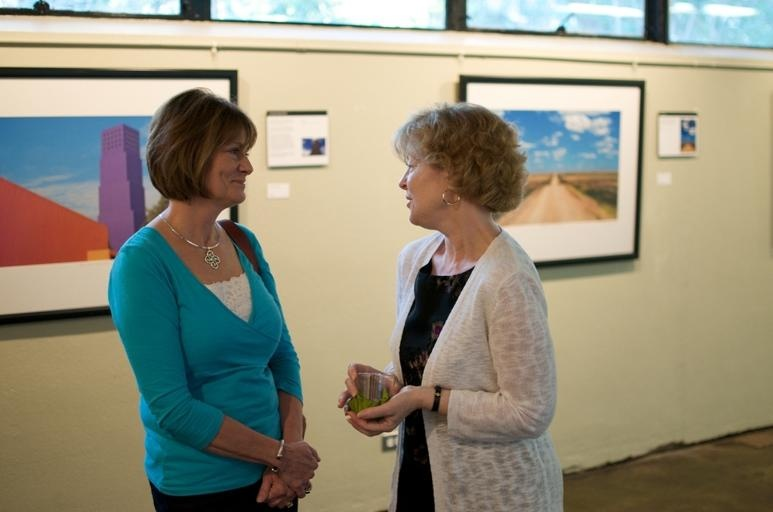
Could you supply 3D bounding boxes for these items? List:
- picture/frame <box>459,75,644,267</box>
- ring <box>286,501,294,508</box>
[{"bbox_3d":[1.139,-0.644,4.246,1.525,1.412,0.058,-2,5,-19],"label":"picture/frame"},{"bbox_3d":[-0.472,1.212,2.992,0.023,0.018,0.025,0,6,3],"label":"ring"}]
